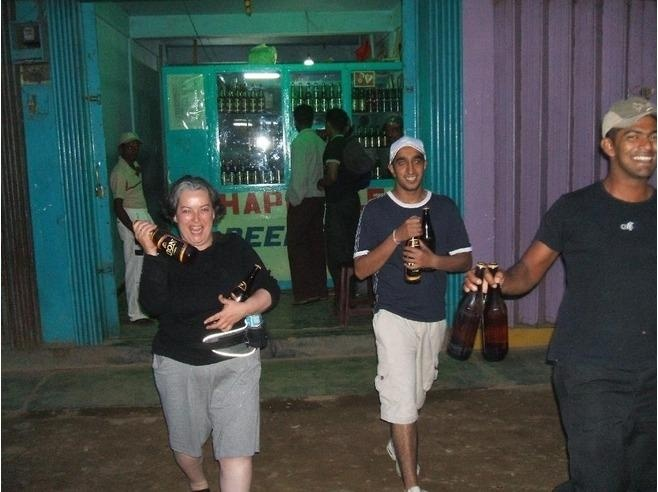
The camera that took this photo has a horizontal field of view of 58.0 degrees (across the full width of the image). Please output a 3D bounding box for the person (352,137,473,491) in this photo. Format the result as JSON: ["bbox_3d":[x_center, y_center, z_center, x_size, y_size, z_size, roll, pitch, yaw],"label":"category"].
[{"bbox_3d":[0.512,0.372,3.792,0.697,2.102,0.554,-12,12,-43],"label":"person"}]

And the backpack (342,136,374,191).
[{"bbox_3d":[0.302,-0.913,7.001,0.249,0.765,0.561,6,-27,-8],"label":"backpack"}]

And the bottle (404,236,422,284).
[{"bbox_3d":[0.514,0.084,3.628,0.104,0.299,0.127,-2,9,4],"label":"bottle"}]

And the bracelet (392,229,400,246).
[{"bbox_3d":[0.417,-0.049,3.631,0.050,0.110,0.124,-2,9,6],"label":"bracelet"}]

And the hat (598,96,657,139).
[{"bbox_3d":[1.530,-0.668,3.062,0.188,0.130,0.248,-9,-8,-6],"label":"hat"}]

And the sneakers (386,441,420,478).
[{"bbox_3d":[0.497,1.408,4.022,0.154,0.169,0.407,-1,10,-5],"label":"sneakers"}]

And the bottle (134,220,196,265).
[{"bbox_3d":[-0.902,-0.025,3.277,0.328,0.236,0.133,-3,9,-3],"label":"bottle"}]

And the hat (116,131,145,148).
[{"bbox_3d":[-2.399,-1.299,7.103,0.248,0.156,0.311,-8,-8,-25],"label":"hat"}]

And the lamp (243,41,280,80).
[{"bbox_3d":[-0.948,-2.557,8.272,0.484,0.475,0.418,-4,9,-6],"label":"lamp"}]

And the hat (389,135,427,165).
[{"bbox_3d":[0.504,-0.621,3.874,0.191,0.142,0.262,0,9,-2],"label":"hat"}]
